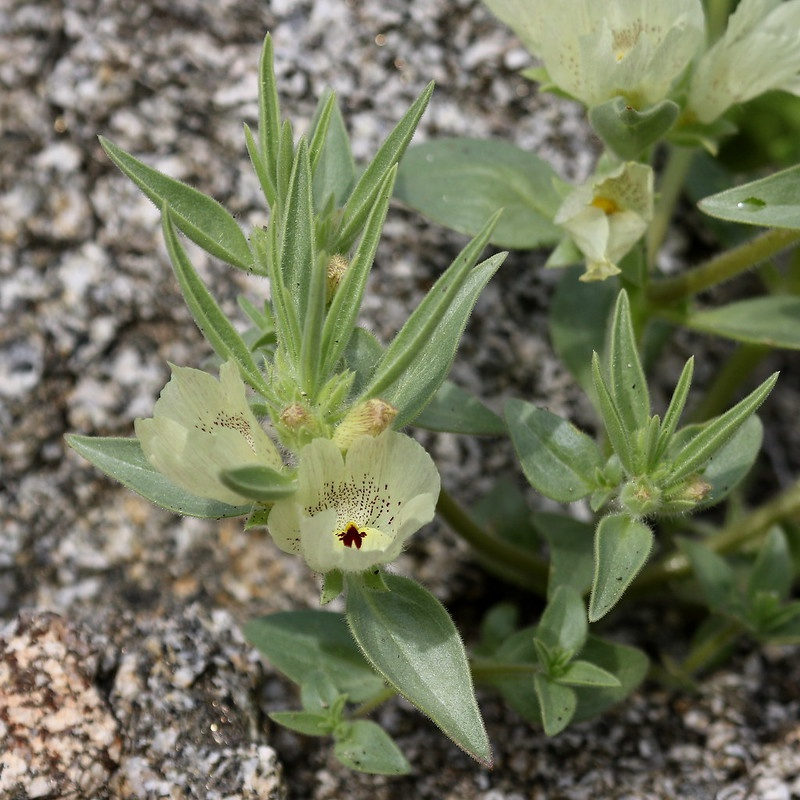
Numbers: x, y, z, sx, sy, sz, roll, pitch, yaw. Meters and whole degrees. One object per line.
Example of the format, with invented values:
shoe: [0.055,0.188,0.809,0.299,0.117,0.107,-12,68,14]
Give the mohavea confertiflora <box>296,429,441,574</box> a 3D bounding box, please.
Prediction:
mohavea confertiflora: [-0.056,0.154,1.756,0.282,0.291,0.180,13,86,-7]
